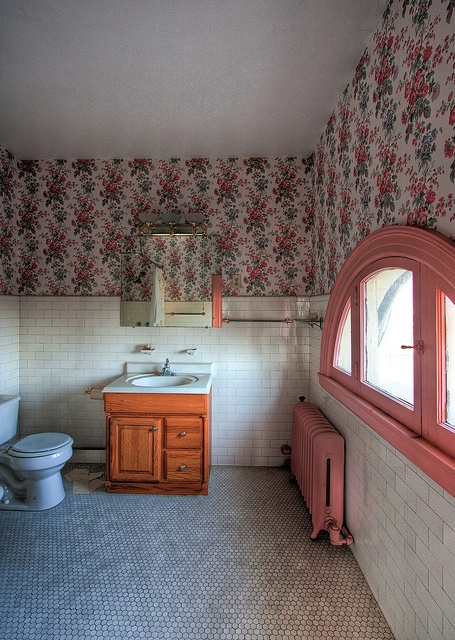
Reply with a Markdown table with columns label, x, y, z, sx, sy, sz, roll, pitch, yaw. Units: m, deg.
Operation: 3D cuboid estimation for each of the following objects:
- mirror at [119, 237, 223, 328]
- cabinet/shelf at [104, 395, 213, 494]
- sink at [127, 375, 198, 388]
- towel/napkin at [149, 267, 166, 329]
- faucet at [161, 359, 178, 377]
| label | x | y | z | sx | sy | sz | roll | pitch | yaw |
| --- | --- | --- | --- | --- | --- | --- | --- | --- | --- |
| mirror | -0.415 | -0.322 | 3.418 | 0.646 | 0.612 | 0.046 | 0 | -1 | 2 |
| cabinet/shelf | -0.470 | 0.811 | 3.178 | 0.691 | 0.717 | 0.492 | 1 | 4 | 1 |
| sink | -0.456 | 0.458 | 3.241 | 0.506 | 0.093 | 0.192 | 2 | 9 | 9 |
| towel/napkin | -0.535 | -0.107 | 3.437 | 0.093 | 0.333 | 0.047 | -18 | 38 | -36 |
| faucet | -0.449 | 0.373 | 3.376 | 0.112 | 0.144 | 0.098 | 3 | -3 | 5 |
